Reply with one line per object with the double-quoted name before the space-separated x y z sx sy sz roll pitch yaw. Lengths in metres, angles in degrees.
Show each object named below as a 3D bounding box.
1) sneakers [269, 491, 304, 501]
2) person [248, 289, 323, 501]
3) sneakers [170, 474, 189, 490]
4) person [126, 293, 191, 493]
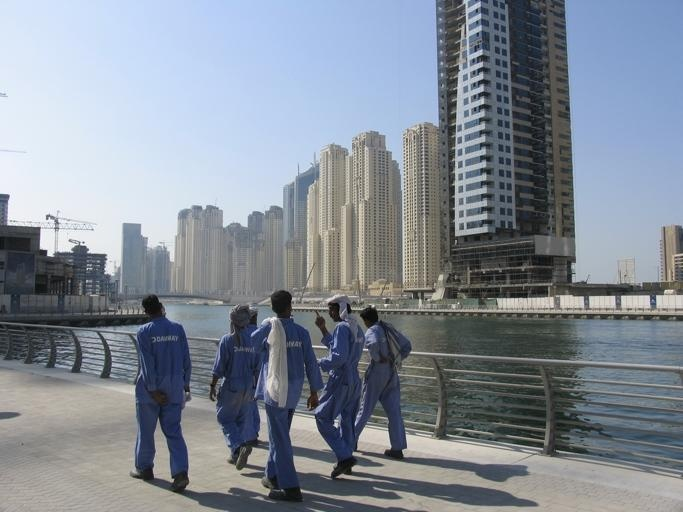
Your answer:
"sneakers" -0.743 3.148 7.918 0.449 0.137 0.089 0 -4 7
"person" -0.753 1.854 8.166 0.913 2.750 0.416 1 -4 -7
"sneakers" -2.162 3.066 8.122 0.140 0.129 0.289 8 -19 -31
"person" -2.511 1.876 8.519 1.043 2.640 0.698 -4 -6 45
